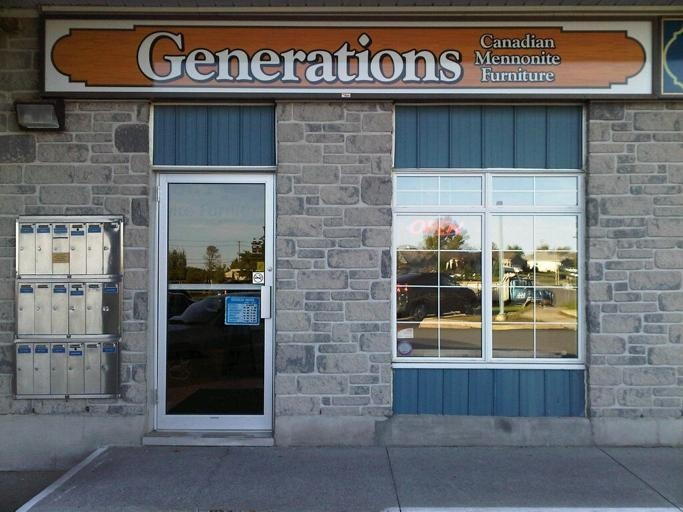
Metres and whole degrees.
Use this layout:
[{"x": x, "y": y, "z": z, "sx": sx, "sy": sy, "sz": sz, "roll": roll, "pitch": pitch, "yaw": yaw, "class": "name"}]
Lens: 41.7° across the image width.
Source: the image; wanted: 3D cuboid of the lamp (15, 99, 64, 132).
[{"x": -3.410, "y": -1.609, "z": 10.096, "sx": 0.666, "sy": 0.364, "sz": 0.325, "roll": 2, "pitch": 10, "yaw": -1, "class": "lamp"}]
